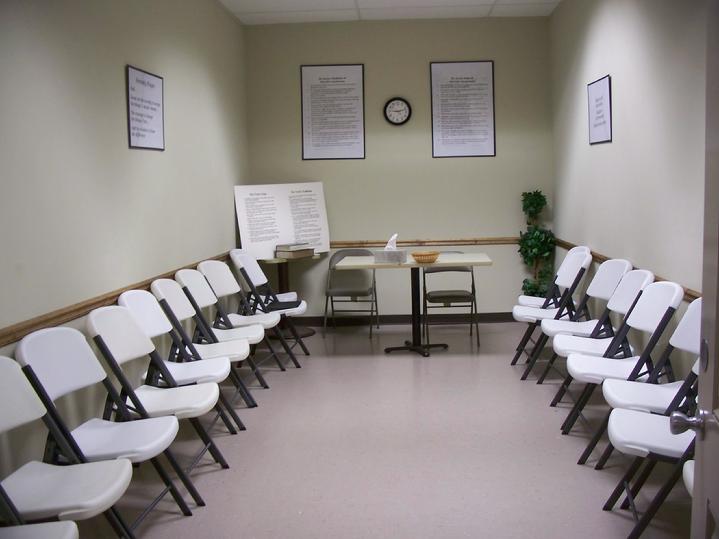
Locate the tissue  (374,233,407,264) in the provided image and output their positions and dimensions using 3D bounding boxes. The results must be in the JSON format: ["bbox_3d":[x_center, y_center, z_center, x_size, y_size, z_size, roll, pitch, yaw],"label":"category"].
[{"bbox_3d":[0.341,-0.217,5.343,0.276,0.325,0.293,1,7,8],"label":"tissue "}]

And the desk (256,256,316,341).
[{"bbox_3d":[-0.860,0.284,6.215,0.762,1.287,0.799,-2,4,-13],"label":"desk"}]

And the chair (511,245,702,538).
[{"bbox_3d":[1.765,0.670,3.288,1.068,1.758,0.874,-3,4,-13],"label":"chair"}]

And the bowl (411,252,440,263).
[{"bbox_3d":[0.673,-0.117,5.147,0.243,0.111,0.178,0,11,7],"label":"bowl"}]

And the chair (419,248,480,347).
[{"bbox_3d":[1.040,0.388,5.855,0.645,1.225,0.844,0,-2,4],"label":"chair"}]

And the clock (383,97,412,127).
[{"bbox_3d":[0.474,-1.924,6.192,0.284,0.349,0.041,0,8,1],"label":"clock"}]
